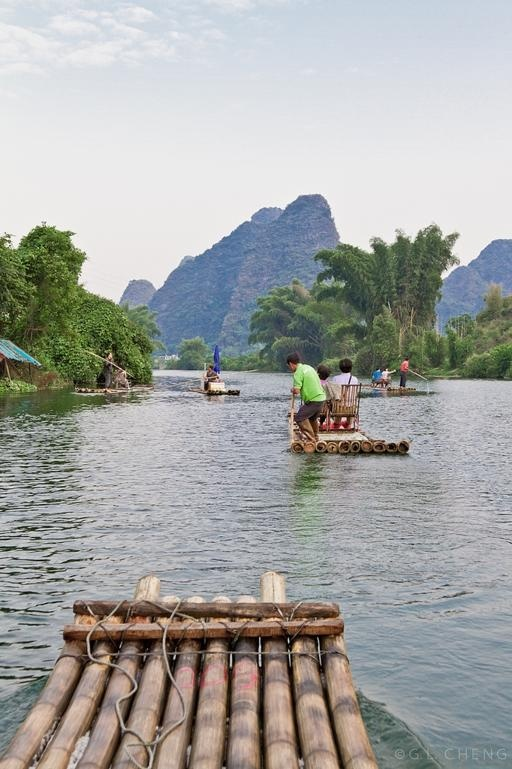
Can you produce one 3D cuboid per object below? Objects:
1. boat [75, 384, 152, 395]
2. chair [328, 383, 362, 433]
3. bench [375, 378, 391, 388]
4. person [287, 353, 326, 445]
[{"bbox_3d":[-9.137,0.445,43.514,2.625,0.418,10.526,-1,1,0],"label":"boat"},{"bbox_3d":[2.283,0.560,18.158,0.998,1.644,1.092,0,14,-2],"label":"chair"},{"bbox_3d":[9.099,-0.018,49.448,0.599,0.774,0.642,1,-3,-29],"label":"bench"},{"bbox_3d":[1.135,0.347,15.681,0.889,2.124,0.811,1,13,21],"label":"person"}]
